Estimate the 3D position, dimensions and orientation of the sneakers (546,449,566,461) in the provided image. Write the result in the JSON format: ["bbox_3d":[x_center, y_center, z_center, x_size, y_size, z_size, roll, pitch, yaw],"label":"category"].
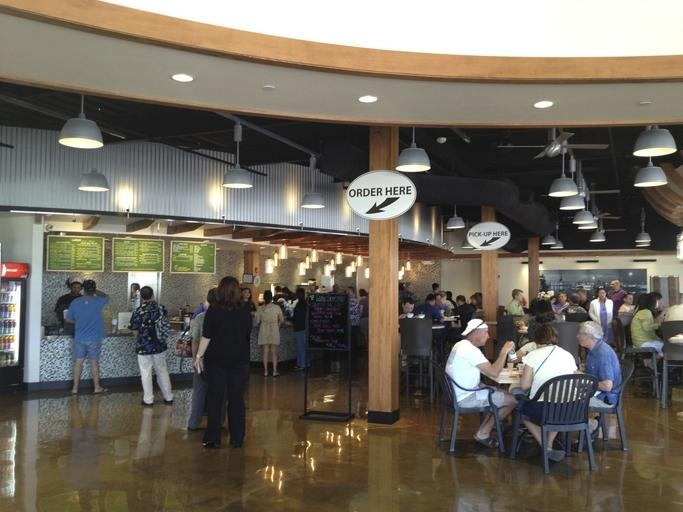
[{"bbox_3d":[2.430,2.254,7.033,0.150,0.047,0.202,1,2,34],"label":"sneakers"}]

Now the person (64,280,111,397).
[{"bbox_3d":[-4.116,1.293,10.078,0.611,1.804,0.636,1,-4,-22],"label":"person"}]

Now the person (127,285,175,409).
[{"bbox_3d":[-2.860,1.339,9.440,0.628,1.744,0.653,1,-4,-16],"label":"person"}]

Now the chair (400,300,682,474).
[{"bbox_3d":[2.174,1.505,7.182,1.636,1.538,1.056,-2,-4,35],"label":"chair"}]

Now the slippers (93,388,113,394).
[{"bbox_3d":[-3.811,2.170,10.010,0.107,0.065,0.195,1,1,23],"label":"slippers"}]

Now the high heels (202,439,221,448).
[{"bbox_3d":[-1.516,2.185,7.289,0.225,0.074,0.089,2,7,-4],"label":"high heels"}]

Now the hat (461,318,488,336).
[{"bbox_3d":[1.556,0.813,7.328,0.307,0.146,0.183,-18,-3,4],"label":"hat"}]

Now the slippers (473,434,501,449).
[{"bbox_3d":[1.710,2.173,7.359,0.313,0.085,0.125,8,22,35],"label":"slippers"}]

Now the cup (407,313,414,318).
[{"bbox_3d":[1.168,1.001,10.527,0.092,0.061,0.078,1,-2,-12],"label":"cup"}]

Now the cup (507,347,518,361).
[{"bbox_3d":[2.090,1.211,7.615,0.082,0.096,0.244,0,0,21],"label":"cup"}]

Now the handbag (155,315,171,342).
[{"bbox_3d":[-2.732,1.111,9.459,0.113,0.328,0.263,0,6,38],"label":"handbag"}]
